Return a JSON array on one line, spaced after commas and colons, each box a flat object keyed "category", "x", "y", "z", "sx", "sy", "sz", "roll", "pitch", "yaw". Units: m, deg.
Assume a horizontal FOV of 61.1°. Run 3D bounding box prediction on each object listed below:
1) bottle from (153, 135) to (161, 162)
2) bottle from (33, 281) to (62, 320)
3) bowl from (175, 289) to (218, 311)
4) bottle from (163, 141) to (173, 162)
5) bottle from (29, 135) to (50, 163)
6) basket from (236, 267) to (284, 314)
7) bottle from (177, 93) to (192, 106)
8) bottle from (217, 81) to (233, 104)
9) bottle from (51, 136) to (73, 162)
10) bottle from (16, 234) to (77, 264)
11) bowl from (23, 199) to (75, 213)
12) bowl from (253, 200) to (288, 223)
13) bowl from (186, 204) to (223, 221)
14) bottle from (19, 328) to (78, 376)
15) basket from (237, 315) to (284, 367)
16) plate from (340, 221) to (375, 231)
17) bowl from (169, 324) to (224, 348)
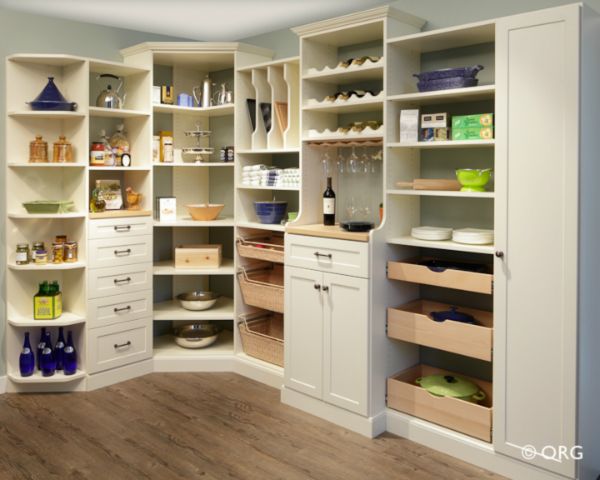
[{"category": "bottle", "x": -1.203, "y": -0.776, "z": 4.278, "sx": 0.057, "sy": 0.221, "sz": 0.152, "roll": -2, "pitch": 11, "yaw": -13}, {"category": "bottle", "x": -1.923, "y": 0.436, "z": 3.859, "sx": 0.202, "sy": 0.279, "sz": 0.272, "roll": -4, "pitch": 12, "yaw": -24}, {"category": "bowl", "x": -0.922, "y": 0.528, "z": 4.589, "sx": 0.354, "sy": 0.118, "sz": 0.573, "roll": -2, "pitch": 10, "yaw": -13}, {"category": "bottle", "x": -1.106, "y": -0.744, "z": 4.274, "sx": 0.073, "sy": 0.161, "sz": 0.066, "roll": -4, "pitch": 12, "yaw": -22}, {"category": "bottle", "x": -1.925, "y": -0.673, "z": 3.737, "sx": 0.123, "sy": 0.183, "sz": 0.102, "roll": -4, "pitch": 12, "yaw": -24}, {"category": "basket", "x": -0.235, "y": 0.396, "z": 4.101, "sx": 0.317, "sy": 0.181, "sz": 0.469, "roll": -2, "pitch": 3, "yaw": -43}, {"category": "bottle", "x": -0.958, "y": -1.182, "z": 4.305, "sx": 0.148, "sy": 0.106, "sz": 0.149, "roll": 1, "pitch": 10, "yaw": 0}, {"category": "bottle", "x": -0.648, "y": -1.249, "z": 4.397, "sx": 0.122, "sy": 0.186, "sz": 0.517, "roll": -1, "pitch": 10, "yaw": -10}, {"category": "bottle", "x": -1.771, "y": -0.680, "z": 3.795, "sx": 0.153, "sy": 0.191, "sz": 0.300, "roll": -4, "pitch": 11, "yaw": -24}, {"category": "bottle", "x": -1.920, "y": 0.071, "z": 3.840, "sx": 0.400, "sy": 0.212, "sz": 0.332, "roll": -7, "pitch": 13, "yaw": -35}, {"category": "bowl", "x": -1.850, "y": -0.251, "z": 3.757, "sx": 0.320, "sy": 0.094, "sz": 0.283, "roll": -2, "pitch": 10, "yaw": -14}, {"category": "bowl", "x": -0.236, "y": -0.225, "z": 4.045, "sx": 0.211, "sy": 0.113, "sz": 0.210, "roll": -1, "pitch": 0, "yaw": 0}, {"category": "bowl", "x": -0.823, "y": -0.244, "z": 4.412, "sx": 0.287, "sy": 0.145, "sz": 0.358, "roll": -1, "pitch": 10, "yaw": -10}, {"category": "bottle", "x": -1.899, "y": 0.854, "z": 3.825, "sx": 0.418, "sy": 0.324, "sz": 0.233, "roll": 1, "pitch": -3, "yaw": -28}, {"category": "basket", "x": -0.252, "y": 0.798, "z": 4.149, "sx": 0.325, "sy": 0.168, "sz": 0.432, "roll": -1, "pitch": 2, "yaw": -37}, {"category": "plate", "x": 0.397, "y": -0.100, "z": 3.435, "sx": 0.213, "sy": 0.054, "sz": 0.275, "roll": 4, "pitch": 10, "yaw": 18}, {"category": "bowl", "x": -0.901, "y": 0.854, "z": 4.464, "sx": 0.400, "sy": 0.139, "sz": 0.388, "roll": 0, "pitch": 10, "yaw": 0}]
